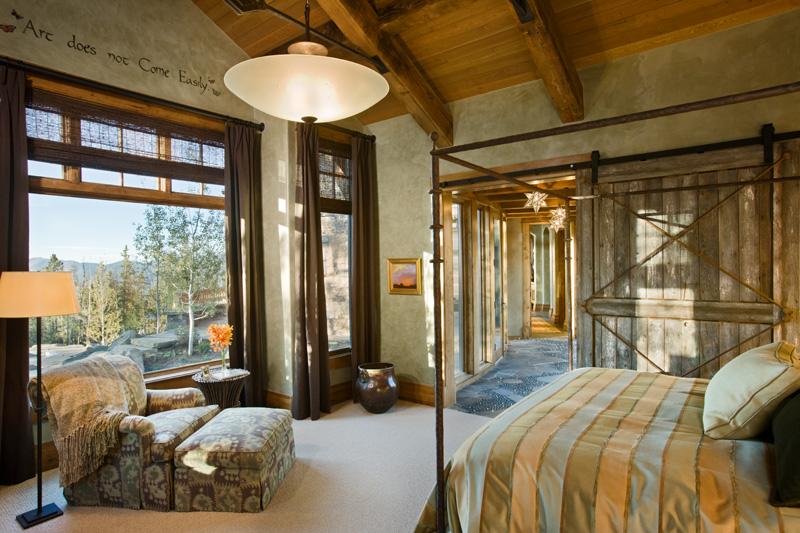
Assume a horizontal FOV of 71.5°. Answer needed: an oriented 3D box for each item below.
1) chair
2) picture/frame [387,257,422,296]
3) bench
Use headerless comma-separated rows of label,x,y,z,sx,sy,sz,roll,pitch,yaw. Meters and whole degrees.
chair,-2.579,1.510,5.430,1.476,1.203,1.278,0,1,2
picture/frame,0.070,0.123,7.233,0.509,0.500,0.037,0,1,36
bench,-1.527,1.768,5.136,0.748,0.564,0.976,0,-2,8
